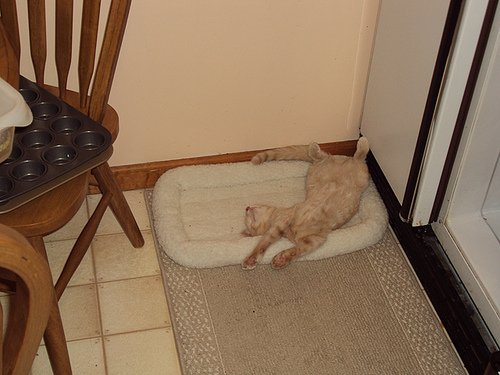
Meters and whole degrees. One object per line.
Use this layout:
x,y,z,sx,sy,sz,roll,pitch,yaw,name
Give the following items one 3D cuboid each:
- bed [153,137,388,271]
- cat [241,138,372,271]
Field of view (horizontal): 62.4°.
0.104,0.115,1.905,0.825,0.242,0.678,-1,44,-13,bed
0.293,0.169,2.023,0.491,0.200,0.661,34,60,15,cat
